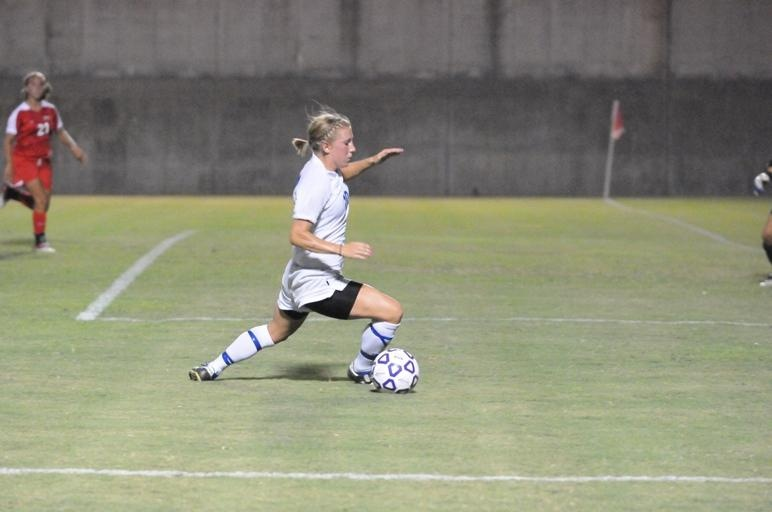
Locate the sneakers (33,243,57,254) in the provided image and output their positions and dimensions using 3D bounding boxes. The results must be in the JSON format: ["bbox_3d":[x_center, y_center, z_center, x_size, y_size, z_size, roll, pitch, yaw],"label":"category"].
[{"bbox_3d":[-5.965,-0.130,28.901,0.419,0.153,0.158,5,31,-24],"label":"sneakers"}]

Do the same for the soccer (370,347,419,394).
[{"bbox_3d":[0.094,1.490,21.902,0.723,0.508,0.600,-4,-12,-23],"label":"soccer"}]

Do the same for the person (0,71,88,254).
[{"bbox_3d":[-6.035,-1.547,28.357,1.227,3.115,0.741,-3,11,-26],"label":"person"}]
